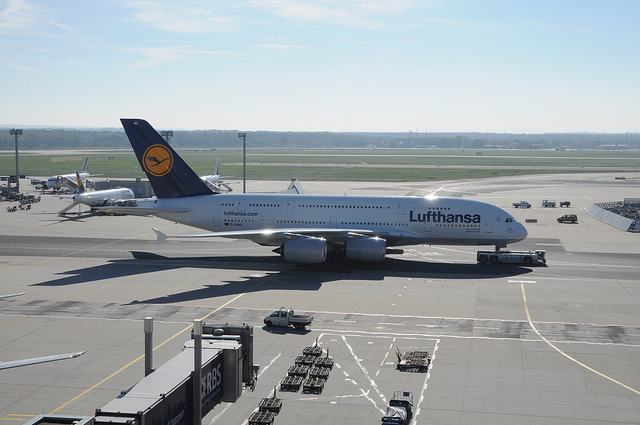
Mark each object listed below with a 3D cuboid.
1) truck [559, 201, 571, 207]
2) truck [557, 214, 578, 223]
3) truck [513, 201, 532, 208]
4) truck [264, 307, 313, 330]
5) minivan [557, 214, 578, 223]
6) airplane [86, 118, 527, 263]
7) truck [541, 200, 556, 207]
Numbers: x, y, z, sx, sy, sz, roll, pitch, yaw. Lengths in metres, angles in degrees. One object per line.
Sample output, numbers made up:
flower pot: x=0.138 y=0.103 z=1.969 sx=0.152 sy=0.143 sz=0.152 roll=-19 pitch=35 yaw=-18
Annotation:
truck: x=44.311 y=-1.482 z=103.181 sx=1.616 sy=0.642 sz=2.061 roll=2 pitch=5 yaw=25
truck: x=36.471 y=0.801 z=84.326 sx=2.731 sy=0.564 sz=1.172 roll=1 pitch=2 yaw=7
truck: x=36.162 y=-1.459 z=102.157 sx=2.967 sy=0.525 sz=1.180 roll=-1 pitch=7 yaw=3
truck: x=-2.159 y=7.570 z=41.062 sx=3.711 sy=0.748 sz=1.491 roll=1 pitch=-1 yaw=7
minivan: x=36.598 y=0.766 z=84.463 sx=3.277 sy=0.711 sz=1.403 roll=1 pitch=3 yaw=8
airplane: x=-0.454 y=0.175 z=58.184 sx=34.762 sy=5.774 sz=25.050 roll=0 pitch=6 yaw=2
truck: x=41.082 y=-1.568 z=102.934 sx=2.246 sy=0.519 sz=1.573 roll=2 pitch=8 yaw=9
